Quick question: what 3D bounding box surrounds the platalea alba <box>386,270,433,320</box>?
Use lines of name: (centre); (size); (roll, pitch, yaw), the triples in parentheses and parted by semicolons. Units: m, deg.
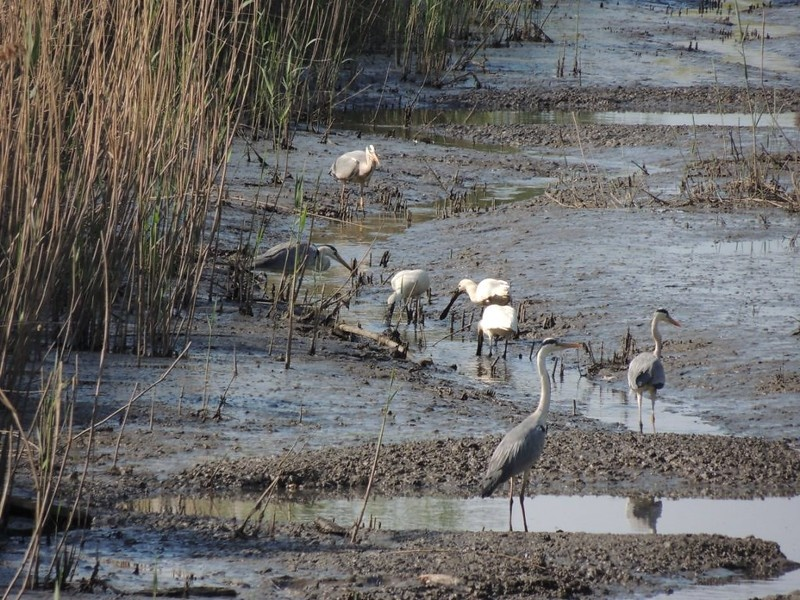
platalea alba: (0.056, -0.104, 15.002); (0.342, 0.406, 0.633); (-1, -2, -21)

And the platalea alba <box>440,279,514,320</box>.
platalea alba: (0.904, -0.054, 14.931); (0.351, 0.438, 1.041); (-15, -3, -35)

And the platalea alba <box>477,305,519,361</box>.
platalea alba: (1.009, 0.327, 13.938); (0.349, 0.550, 0.842); (3, -3, -24)

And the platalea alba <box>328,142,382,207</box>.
platalea alba: (-0.472, -1.923, 19.469); (1.056, 1.078, 0.551); (3, 8, 42)
